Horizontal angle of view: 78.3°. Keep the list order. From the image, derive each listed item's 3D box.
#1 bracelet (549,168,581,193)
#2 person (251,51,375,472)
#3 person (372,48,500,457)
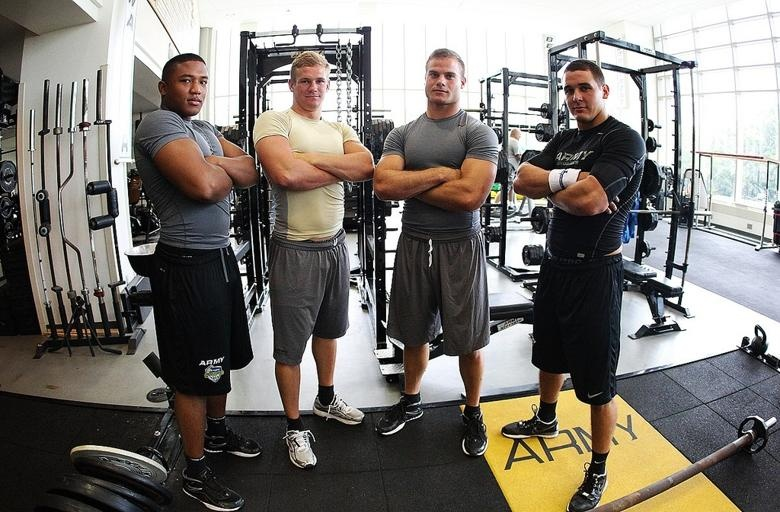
[{"bbox_3d":[1.152,-0.495,3.175,0.194,0.150,0.102,6,19,21],"label":"bracelet"},{"bbox_3d":[-0.558,0.014,3.400,0.644,2.763,0.895,14,23,41],"label":"person"},{"bbox_3d":[0.334,-0.121,3.720,0.897,2.862,0.945,-1,4,-5],"label":"person"}]
